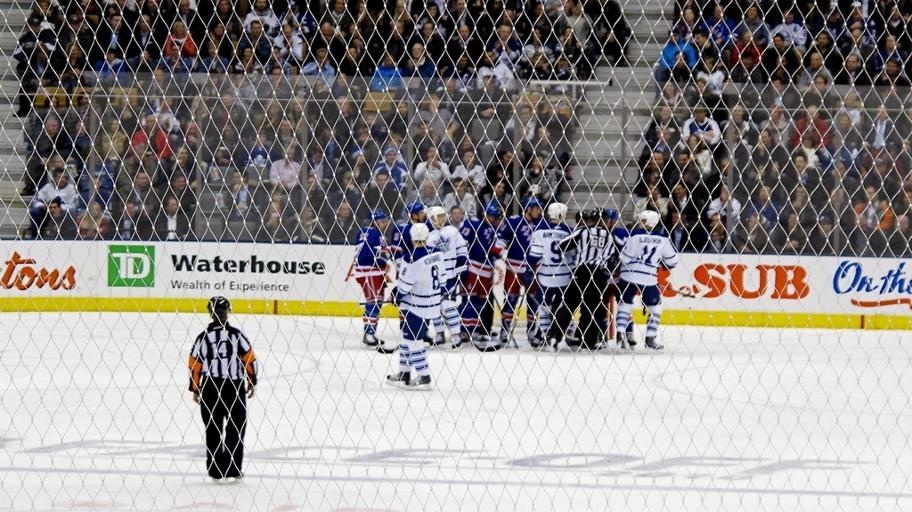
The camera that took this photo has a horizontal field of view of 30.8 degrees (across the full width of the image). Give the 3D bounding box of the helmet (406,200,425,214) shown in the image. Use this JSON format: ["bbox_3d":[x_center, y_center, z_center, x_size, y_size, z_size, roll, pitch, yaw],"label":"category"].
[{"bbox_3d":[-0.635,-0.743,25.327,0.166,0.160,0.398,11,15,44],"label":"helmet"}]

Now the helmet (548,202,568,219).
[{"bbox_3d":[1.564,-0.732,25.503,0.260,0.259,0.222,-21,26,-6],"label":"helmet"}]

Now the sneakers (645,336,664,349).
[{"bbox_3d":[3.132,1.359,26.015,0.291,0.217,0.179,-10,14,-43],"label":"sneakers"}]

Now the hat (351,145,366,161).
[{"bbox_3d":[-1.600,-1.672,26.889,0.181,0.216,0.238,-2,-16,-24],"label":"hat"}]

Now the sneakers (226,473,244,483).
[{"bbox_3d":[-2.741,2.738,20.395,0.143,0.056,0.105,-4,3,7],"label":"sneakers"}]

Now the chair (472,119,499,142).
[{"bbox_3d":[0.482,-2.017,26.408,0.254,0.332,0.483,-5,11,-17],"label":"chair"}]

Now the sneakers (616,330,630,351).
[{"bbox_3d":[2.605,1.326,25.933,0.244,0.424,0.277,-2,8,5],"label":"sneakers"}]

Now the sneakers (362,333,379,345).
[{"bbox_3d":[-1.326,1.308,25.828,0.233,0.205,0.218,-2,11,-10],"label":"sneakers"}]

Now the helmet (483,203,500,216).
[{"bbox_3d":[0.578,-0.706,25.987,0.226,0.242,0.261,0,26,-4],"label":"helmet"}]

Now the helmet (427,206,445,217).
[{"bbox_3d":[-0.290,-0.672,25.353,0.256,0.161,0.256,-1,11,-7],"label":"helmet"}]

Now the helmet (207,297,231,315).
[{"bbox_3d":[-2.927,0.602,20.394,0.193,0.238,0.248,2,14,8],"label":"helmet"}]

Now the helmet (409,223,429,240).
[{"bbox_3d":[-0.524,-0.345,23.685,0.186,0.226,0.251,2,7,3],"label":"helmet"}]

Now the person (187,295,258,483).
[{"bbox_3d":[-2.867,1.647,20.349,0.810,2.246,0.457,-2,11,-12],"label":"person"}]

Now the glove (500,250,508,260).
[{"bbox_3d":[0.727,-0.013,24.959,0.137,0.120,0.198,-2,1,5],"label":"glove"}]
